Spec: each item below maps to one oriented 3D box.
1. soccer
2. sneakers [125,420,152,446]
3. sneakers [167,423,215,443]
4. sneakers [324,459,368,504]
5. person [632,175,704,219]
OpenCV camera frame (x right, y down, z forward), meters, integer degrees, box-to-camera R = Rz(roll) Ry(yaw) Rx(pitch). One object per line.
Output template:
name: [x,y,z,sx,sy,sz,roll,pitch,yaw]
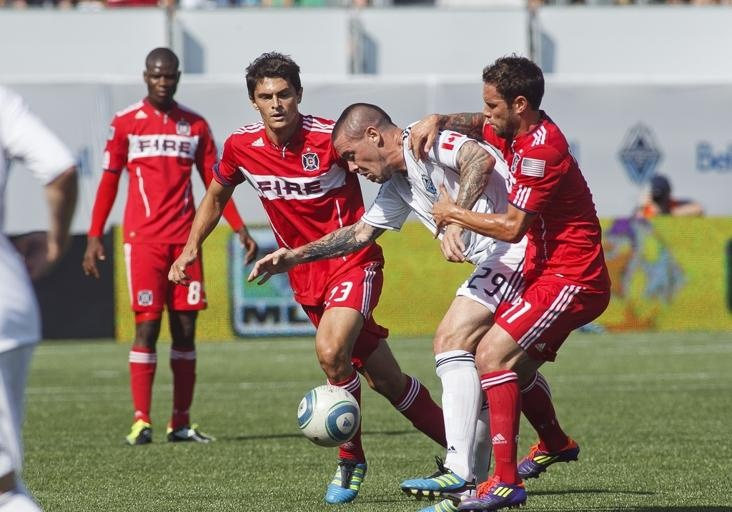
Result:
soccer: [-0.261,1.230,11.472,0.452,0.457,0.459,15,15,5]
sneakers: [-1.926,1.536,12.754,0.216,0.201,0.215,-2,12,-10]
sneakers: [-1.511,1.561,12.823,0.446,0.198,0.154,-1,-6,3]
sneakers: [-0.131,1.748,11.556,0.175,0.207,0.452,13,30,20]
person: [3.255,-0.597,15.492,0.859,0.518,0.310,6,7,14]
